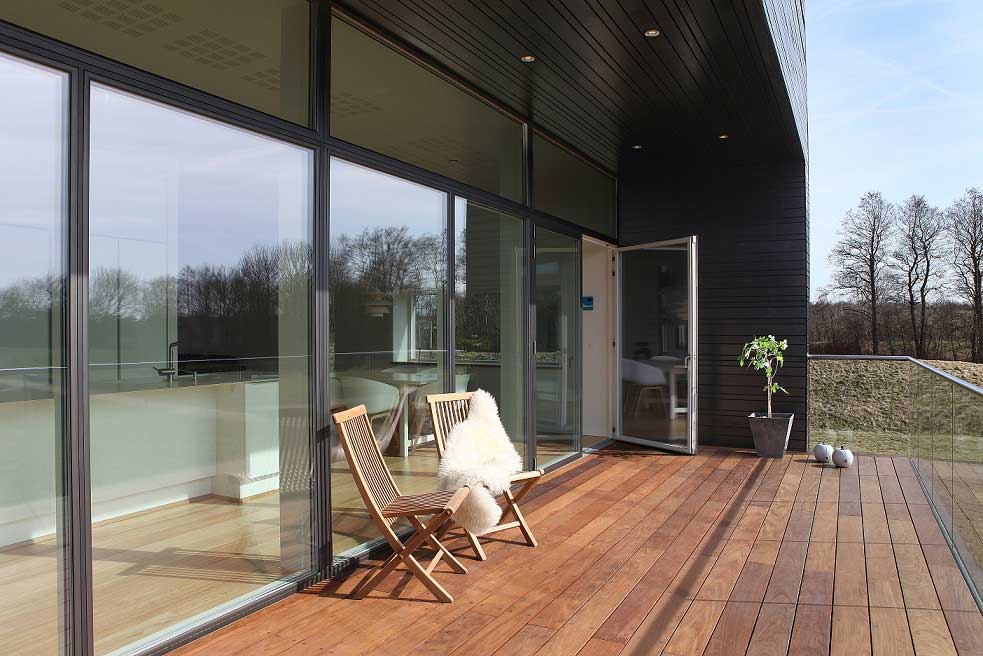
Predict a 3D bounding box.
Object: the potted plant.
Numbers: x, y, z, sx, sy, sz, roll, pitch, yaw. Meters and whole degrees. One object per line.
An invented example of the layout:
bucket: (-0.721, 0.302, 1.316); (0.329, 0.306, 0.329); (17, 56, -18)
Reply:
potted plant: (3.560, 0.881, 8.089); (0.686, 1.532, 0.577); (2, 5, 25)

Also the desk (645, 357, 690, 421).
desk: (2.385, 0.775, 8.156); (0.666, 0.846, 0.727); (-3, -2, 22)

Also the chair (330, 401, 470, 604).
chair: (-0.645, 1.213, 4.386); (0.924, 1.214, 0.766); (2, -1, 0)
